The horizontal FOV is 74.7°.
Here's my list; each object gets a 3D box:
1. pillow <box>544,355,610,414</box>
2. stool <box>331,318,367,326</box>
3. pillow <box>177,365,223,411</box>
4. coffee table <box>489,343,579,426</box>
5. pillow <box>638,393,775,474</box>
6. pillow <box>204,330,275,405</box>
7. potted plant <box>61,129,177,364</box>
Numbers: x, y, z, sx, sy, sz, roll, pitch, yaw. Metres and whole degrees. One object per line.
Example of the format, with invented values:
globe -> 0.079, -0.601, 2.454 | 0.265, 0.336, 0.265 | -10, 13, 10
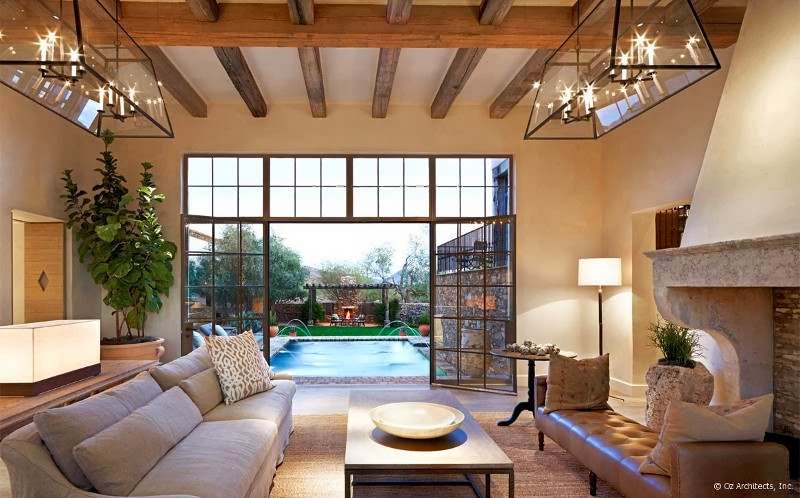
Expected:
pillow -> 1.812, 1.399, 5.367 | 0.574, 0.492, 0.215 | 2, -10, 4
stool -> -1.667, 2.349, 16.748 | 1.142, 0.213, 0.421 | 0, -5, -11
pillow -> -1.933, 1.337, 5.002 | 0.128, 0.243, 0.441 | -32, 0, -2
coffee table -> 1.475, 1.615, 6.250 | 1.019, 0.811, 0.947 | 3, -4, -17
pillow -> 2.448, 1.387, 4.119 | 0.746, 0.760, 0.235 | 3, -6, 13
pillow -> -1.627, 1.252, 5.440 | 0.212, 0.667, 0.655 | -37, -48, 21
potted plant -> -3.678, -0.036, 6.923 | 1.329, 2.932, 0.938 | 1, -4, -28
